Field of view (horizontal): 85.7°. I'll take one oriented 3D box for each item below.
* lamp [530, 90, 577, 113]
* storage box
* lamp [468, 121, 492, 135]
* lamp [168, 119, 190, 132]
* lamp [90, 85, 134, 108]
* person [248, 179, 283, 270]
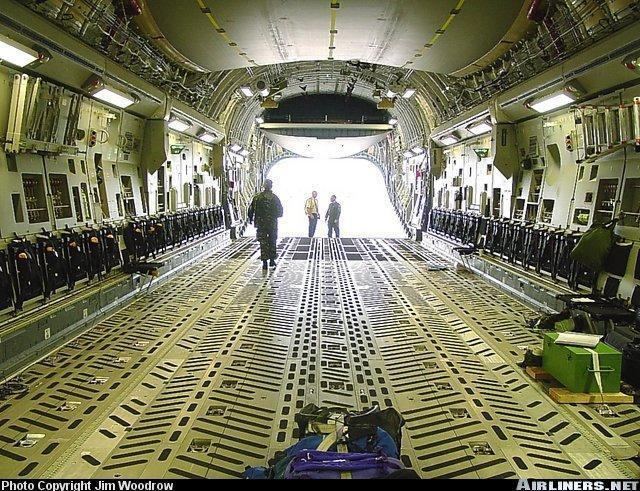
[{"bbox_3d":[5.037,-3.126,7.458,0.503,0.148,0.705,4,-8,-15],"label":"lamp"},{"bbox_3d":[3.411,1.572,4.528,0.552,0.486,0.852,-2,-8,18],"label":"storage box"},{"bbox_3d":[5.072,-3.742,11.028,0.557,0.304,1.560,3,9,16],"label":"lamp"},{"bbox_3d":[-4.566,-3.914,11.311,0.434,0.140,0.581,4,-12,-21],"label":"lamp"},{"bbox_3d":[-4.551,-3.178,7.640,0.348,0.134,0.695,-7,-5,24],"label":"lamp"},{"bbox_3d":[-1.678,-0.679,11.007,1.041,2.844,1.022,-1,9,-7],"label":"person"}]
